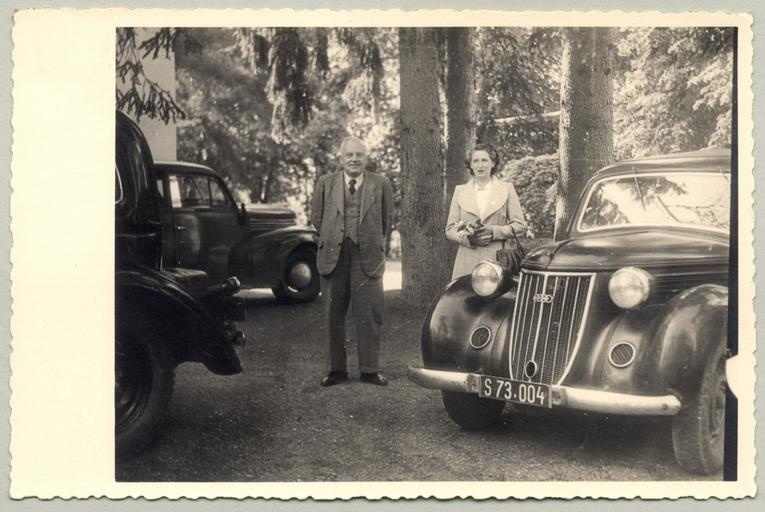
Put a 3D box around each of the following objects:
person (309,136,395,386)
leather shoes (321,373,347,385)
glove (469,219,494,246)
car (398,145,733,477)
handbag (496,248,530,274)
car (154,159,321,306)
[{"bbox_3d":[-0.270,0.045,6.770,0.715,2.112,0.589,0,10,-3],"label":"person"},{"bbox_3d":[-0.422,1.091,6.703,0.233,0.107,0.086,2,-6,-30],"label":"leather shoes"},{"bbox_3d":[0.856,-0.178,6.630,0.193,0.235,0.174,12,-13,2],"label":"glove"},{"bbox_3d":[1.646,0.494,6.108,2.329,2.567,1.380,2,10,8],"label":"car"},{"bbox_3d":[1.048,0.044,6.220,0.155,0.065,0.235,2,38,0],"label":"handbag"},{"bbox_3d":[-1.444,-0.260,7.620,1.654,0.861,0.986,-3,7,-27],"label":"car"}]
